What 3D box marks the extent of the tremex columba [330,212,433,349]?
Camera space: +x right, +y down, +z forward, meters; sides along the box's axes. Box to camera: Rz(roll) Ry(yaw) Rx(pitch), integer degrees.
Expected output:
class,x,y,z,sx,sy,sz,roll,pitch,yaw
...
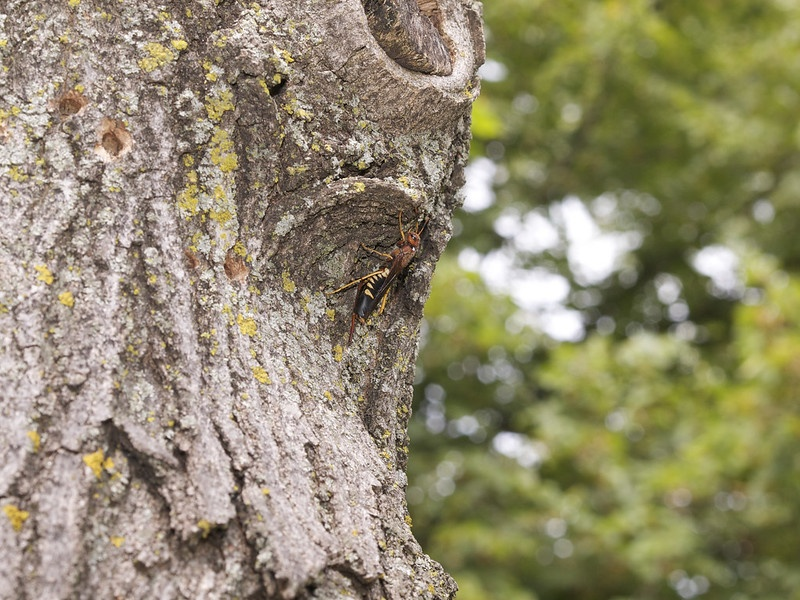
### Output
class,x,y,z,sx,sy,sz,roll,pitch,yaw
tremex columba,-0.154,-0.125,8.900,0.364,0.881,0.367,5,-23,30
